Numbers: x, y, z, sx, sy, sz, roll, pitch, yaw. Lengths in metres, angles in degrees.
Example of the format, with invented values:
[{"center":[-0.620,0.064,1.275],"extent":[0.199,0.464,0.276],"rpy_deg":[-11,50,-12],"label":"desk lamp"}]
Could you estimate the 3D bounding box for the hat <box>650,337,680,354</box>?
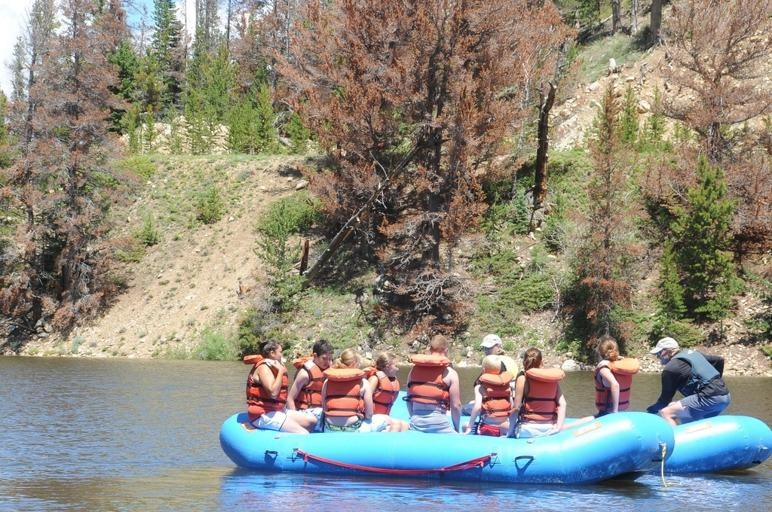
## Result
[{"center":[12.285,3.982,54.670],"extent":[1.093,0.707,0.813],"rpy_deg":[2,-6,6],"label":"hat"}]
